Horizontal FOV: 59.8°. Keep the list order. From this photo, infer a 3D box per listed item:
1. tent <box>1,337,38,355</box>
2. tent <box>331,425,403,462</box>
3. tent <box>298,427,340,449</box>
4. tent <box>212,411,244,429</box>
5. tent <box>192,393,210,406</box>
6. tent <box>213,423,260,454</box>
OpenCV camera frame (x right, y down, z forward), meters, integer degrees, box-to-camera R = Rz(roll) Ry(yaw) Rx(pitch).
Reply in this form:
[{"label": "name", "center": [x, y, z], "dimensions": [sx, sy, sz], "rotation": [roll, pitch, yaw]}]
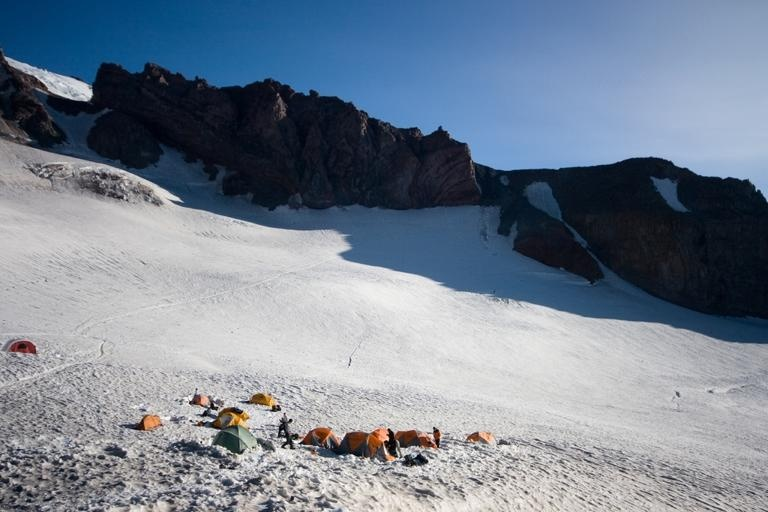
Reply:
[{"label": "tent", "center": [-18.990, 4.838, 35.893], "dimensions": [1.835, 0.437, 1.000], "rotation": [12, 4, 4]}, {"label": "tent", "center": [-0.523, 9.268, 32.859], "dimensions": [2.201, 0.789, 1.655], "rotation": [1, -8, 22]}, {"label": "tent", "center": [-2.927, 9.054, 33.172], "dimensions": [1.153, 0.458, 1.258], "rotation": [6, -11, -40]}, {"label": "tent", "center": [-7.531, 8.178, 33.417], "dimensions": [1.030, 0.370, 0.917], "rotation": [1, -10, 23]}, {"label": "tent", "center": [-9.135, 7.437, 34.591], "dimensions": [0.675, 0.273, 0.631], "rotation": [3, -7, 12]}, {"label": "tent", "center": [-6.847, 8.805, 32.052], "dimensions": [1.493, 0.655, 1.391], "rotation": [15, -8, -42]}]
